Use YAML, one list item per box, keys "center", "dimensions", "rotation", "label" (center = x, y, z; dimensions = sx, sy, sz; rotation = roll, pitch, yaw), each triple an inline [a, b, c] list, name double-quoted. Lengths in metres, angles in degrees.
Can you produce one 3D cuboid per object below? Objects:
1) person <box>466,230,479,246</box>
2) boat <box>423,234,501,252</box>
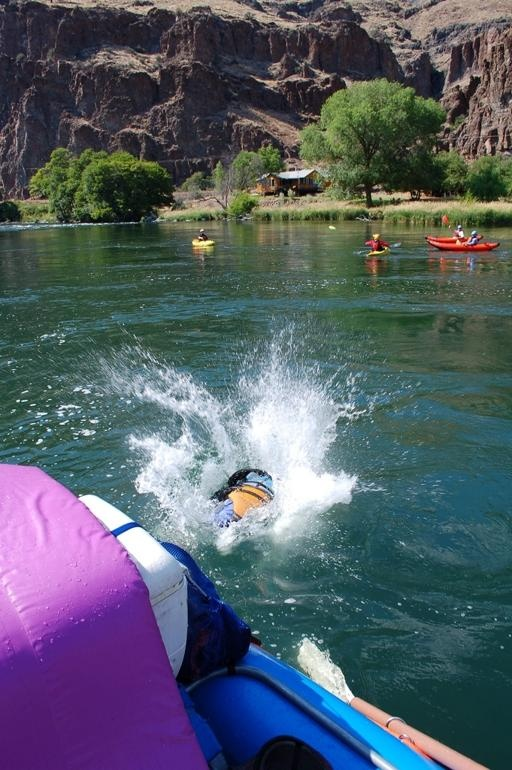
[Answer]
- center: [9.283, -6.266, 29.140]
  dimensions: [0.473, 0.558, 1.167]
  rotation: [1, 13, 17]
  label: "person"
- center: [8.893, -5.998, 29.207]
  dimensions: [2.559, 0.448, 1.518]
  rotation: [6, 21, 18]
  label: "boat"
